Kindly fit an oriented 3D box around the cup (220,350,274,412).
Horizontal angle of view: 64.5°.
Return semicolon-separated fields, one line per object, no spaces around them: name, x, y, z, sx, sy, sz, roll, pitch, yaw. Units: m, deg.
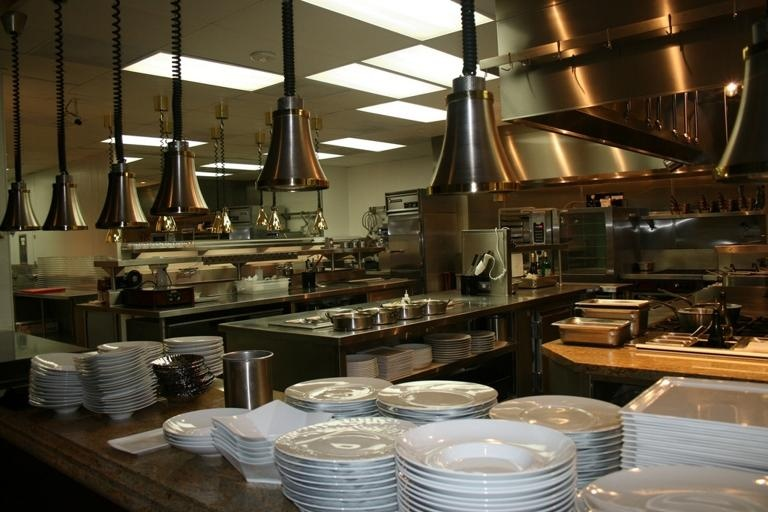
cup;-0.630;0.604;2.824;0.255;0.206;0.231;-10;-15;20

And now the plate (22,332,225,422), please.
plate;-1.348;0.596;2.885;0.607;0.159;0.522;1;0;14

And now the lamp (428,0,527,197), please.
lamp;0.350;-0.645;2.533;0.300;0.777;0.294;-3;4;42

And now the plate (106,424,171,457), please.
plate;-1.032;0.784;2.602;0.123;0.018;0.175;2;3;40

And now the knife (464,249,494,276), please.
knife;0.997;0.079;6.249;0.430;0.117;0.164;-42;20;-33
